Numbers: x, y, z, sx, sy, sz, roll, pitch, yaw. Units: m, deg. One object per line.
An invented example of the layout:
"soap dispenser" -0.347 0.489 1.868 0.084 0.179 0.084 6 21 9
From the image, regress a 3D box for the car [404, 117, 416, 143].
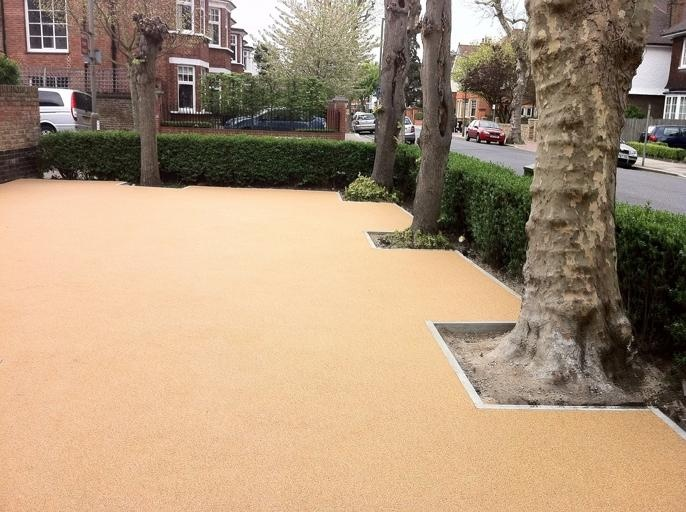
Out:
"car" 4.615 -8.747 36.117 1.072 1.163 3.128 1 28 2

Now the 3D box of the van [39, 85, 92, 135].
"van" -10.689 -5.690 20.198 1.478 1.612 2.037 12 17 36

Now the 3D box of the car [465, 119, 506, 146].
"car" 11.088 -9.814 40.804 1.941 1.762 3.325 -1 15 -11

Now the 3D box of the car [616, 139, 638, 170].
"car" 14.996 -5.349 27.412 0.825 1.215 2.242 9 16 29

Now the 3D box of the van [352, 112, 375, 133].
"van" 1.622 -10.922 42.916 1.007 1.123 2.599 -2 22 -2
